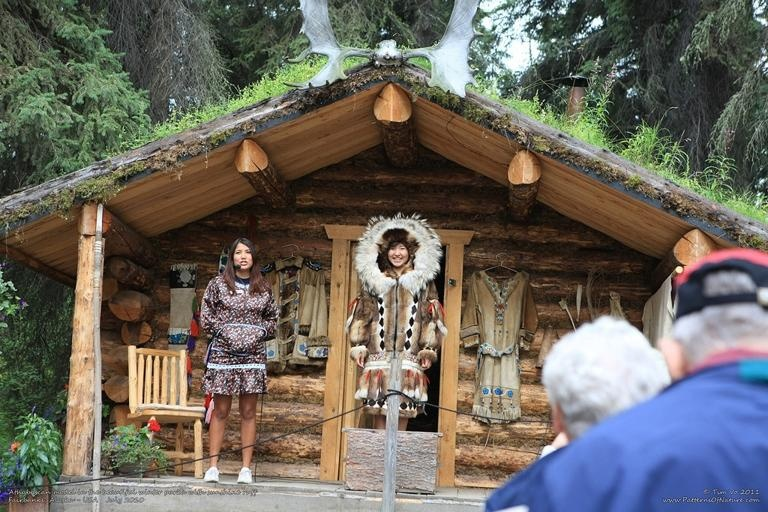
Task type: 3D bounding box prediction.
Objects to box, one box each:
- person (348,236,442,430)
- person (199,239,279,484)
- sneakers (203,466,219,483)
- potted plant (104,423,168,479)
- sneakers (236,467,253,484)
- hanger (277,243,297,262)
[{"bbox_3d":[0.143,0.883,12.377,1.164,2.396,0.523,2,-16,-2],"label":"person"},{"bbox_3d":[-1.783,1.260,12.200,0.933,2.896,0.544,3,-16,-7],"label":"person"},{"bbox_3d":[-2.037,2.585,11.946,0.169,0.198,0.202,4,-16,-7],"label":"sneakers"},{"bbox_3d":[-3.128,2.423,12.565,0.731,0.502,0.731,4,-7,-3],"label":"potted plant"},{"bbox_3d":[-1.645,2.610,11.988,0.187,0.188,0.251,4,-16,-8],"label":"sneakers"},{"bbox_3d":[-1.308,-0.030,13.720,0.261,0.190,0.013,5,-28,16],"label":"hanger"}]
